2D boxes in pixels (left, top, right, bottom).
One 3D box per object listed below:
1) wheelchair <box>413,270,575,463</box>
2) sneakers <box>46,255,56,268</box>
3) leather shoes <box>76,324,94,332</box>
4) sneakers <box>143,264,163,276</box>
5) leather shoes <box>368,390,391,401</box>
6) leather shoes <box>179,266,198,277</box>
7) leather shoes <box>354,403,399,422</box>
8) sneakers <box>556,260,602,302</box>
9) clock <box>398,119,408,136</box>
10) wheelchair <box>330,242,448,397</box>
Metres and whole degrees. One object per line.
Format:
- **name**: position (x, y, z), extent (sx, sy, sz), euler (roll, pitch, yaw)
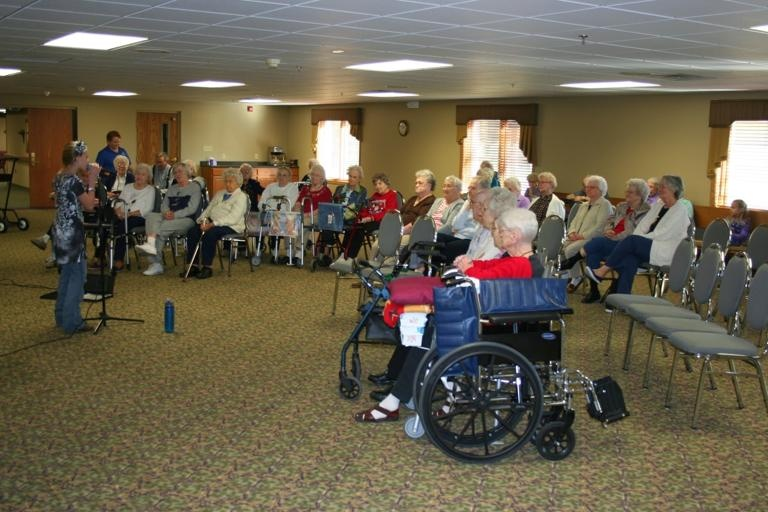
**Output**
- **wheelchair**: position (0.719, 0.669, 3.946), extent (1.306, 1.299, 0.986), euler (-3, 6, 1)
- **sneakers**: position (-4.783, 0.091, 8.020), extent (0.160, 0.114, 0.188), euler (4, 4, -22)
- **leather shoes**: position (-2.963, 0.703, 5.541), extent (0.125, 0.108, 0.062), euler (-8, 18, -39)
- **sneakers**: position (-3.214, 0.193, 7.887), extent (0.323, 0.128, 0.122), euler (-5, 10, -37)
- **leather shoes**: position (-0.053, 1.056, 4.284), extent (0.206, 0.074, 0.076), euler (2, 0, 35)
- **leather shoes**: position (-2.735, 0.227, 7.858), extent (0.269, 0.100, 0.137), euler (2, -2, -24)
- **leather shoes**: position (-0.048, 1.116, 4.020), extent (0.268, 0.094, 0.129), euler (3, -5, -3)
- **sneakers**: position (2.304, 0.281, 6.560), extent (0.198, 0.266, 0.613), euler (-27, -45, 20)
- **clock**: position (0.519, -3.300, 14.467), extent (0.368, 0.339, 0.097), euler (15, 18, 43)
- **wheelchair**: position (0.191, 0.519, 4.501), extent (1.059, 1.273, 0.932), euler (-4, -10, 21)
